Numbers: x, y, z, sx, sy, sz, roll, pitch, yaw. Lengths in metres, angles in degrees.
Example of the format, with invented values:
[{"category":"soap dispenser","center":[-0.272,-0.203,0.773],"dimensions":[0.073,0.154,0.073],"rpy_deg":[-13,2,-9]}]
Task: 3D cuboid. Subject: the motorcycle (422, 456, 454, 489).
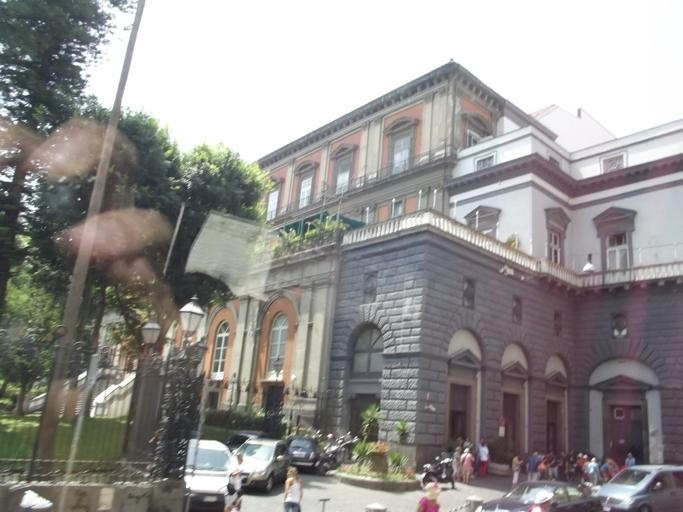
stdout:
[{"category":"motorcycle","center":[4.178,9.086,21.643],"dimensions":[1.228,1.214,2.324],"rpy_deg":[-1,-23,18]}]
